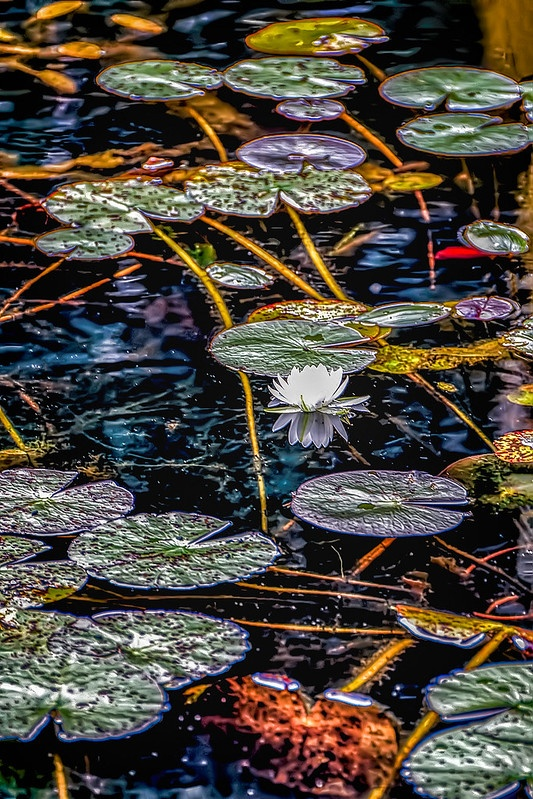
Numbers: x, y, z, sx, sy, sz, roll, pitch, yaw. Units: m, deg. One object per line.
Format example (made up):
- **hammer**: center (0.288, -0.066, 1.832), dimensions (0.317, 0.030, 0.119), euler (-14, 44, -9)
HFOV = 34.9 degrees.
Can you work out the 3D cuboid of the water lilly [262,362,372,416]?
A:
- **water lilly**: center (0.069, -0.017, 1.529), dimensions (0.123, 0.041, 0.119), euler (-14, 16, -42)
